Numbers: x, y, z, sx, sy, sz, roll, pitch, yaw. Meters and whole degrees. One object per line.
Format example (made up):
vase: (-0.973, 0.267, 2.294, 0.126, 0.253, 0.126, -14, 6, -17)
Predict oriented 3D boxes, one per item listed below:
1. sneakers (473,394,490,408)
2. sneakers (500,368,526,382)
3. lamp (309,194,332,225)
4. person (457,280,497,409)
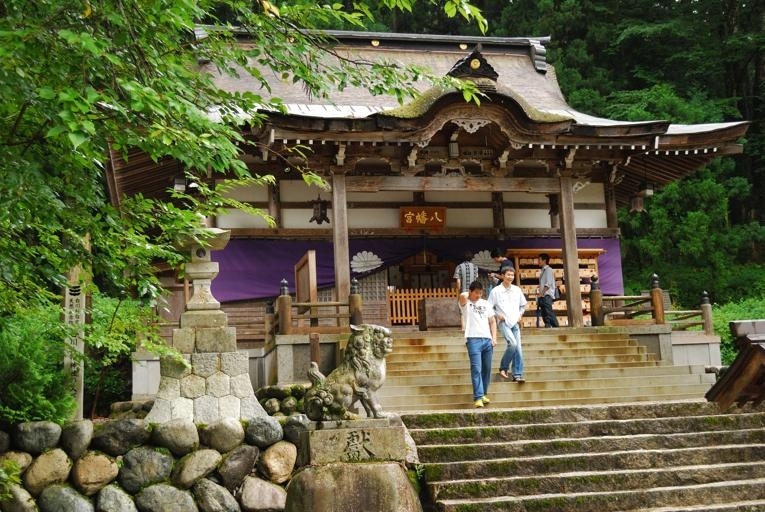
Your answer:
sneakers: (1.583, 2.339, 12.641, 0.135, 0.152, 0.357, -1, -9, 1)
sneakers: (2.239, 2.069, 13.560, 0.164, 0.208, 0.510, 3, -8, -23)
lamp: (-1.436, -1.029, 17.944, 0.451, 0.625, 0.556, 0, -5, -3)
person: (1.538, 1.411, 12.749, 0.550, 2.052, 0.517, 0, -5, 2)
